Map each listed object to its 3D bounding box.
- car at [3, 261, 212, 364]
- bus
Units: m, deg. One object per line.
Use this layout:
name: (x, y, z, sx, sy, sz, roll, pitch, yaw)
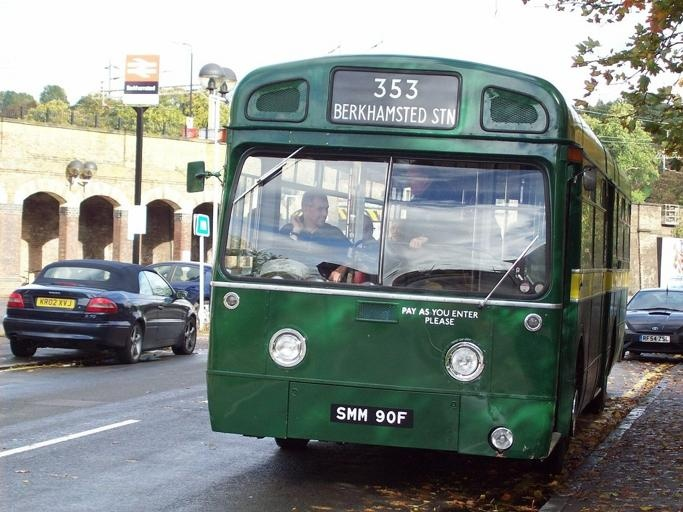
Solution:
car: (-4.812, 1.197, 15.206, 2.034, 1.516, 4.491, 0, 0, 16)
bus: (1.938, 0.055, 9.094, 3.636, 3.403, 7.929, 3, 1, 26)
